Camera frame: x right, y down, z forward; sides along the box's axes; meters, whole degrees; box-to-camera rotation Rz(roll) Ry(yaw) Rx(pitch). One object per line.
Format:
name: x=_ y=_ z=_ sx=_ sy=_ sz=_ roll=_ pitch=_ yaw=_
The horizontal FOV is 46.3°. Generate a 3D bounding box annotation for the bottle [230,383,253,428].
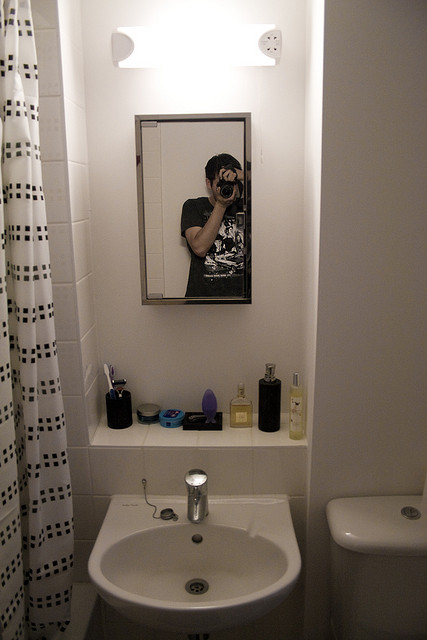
bottle: x=0.078 y=0.236 z=1.440 sx=0.070 sy=0.147 sz=0.052 roll=-5 pitch=31 yaw=-4

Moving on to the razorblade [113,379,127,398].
razorblade: x=-0.269 y=0.190 z=1.454 sx=0.033 sy=0.055 sz=0.094 roll=-2 pitch=9 yaw=0

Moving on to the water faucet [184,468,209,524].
water faucet: x=-0.034 y=0.428 z=1.245 sx=0.057 sy=0.134 sz=0.120 roll=0 pitch=25 yaw=2

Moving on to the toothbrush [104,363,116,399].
toothbrush: x=-0.302 y=0.174 z=1.450 sx=0.009 sy=0.106 sz=0.009 roll=-12 pitch=-3 yaw=29

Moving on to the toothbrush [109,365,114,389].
toothbrush: x=-0.296 y=0.163 z=1.450 sx=0.016 sy=0.069 sz=0.021 roll=-1 pitch=-7 yaw=-23

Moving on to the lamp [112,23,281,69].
lamp: x=-0.044 y=-0.658 z=1.216 sx=0.403 sy=0.149 sz=0.049 roll=-2 pitch=-10 yaw=0

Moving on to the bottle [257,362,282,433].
bottle: x=0.153 y=0.221 z=1.410 sx=0.068 sy=0.200 sz=0.077 roll=0 pitch=8 yaw=10

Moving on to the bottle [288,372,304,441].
bottle: x=0.226 y=0.230 z=1.383 sx=0.044 sy=0.193 sz=0.102 roll=0 pitch=9 yaw=10

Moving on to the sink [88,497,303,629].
sink: x=-0.046 y=0.595 z=1.198 sx=0.486 sy=0.161 sz=0.408 roll=-2 pitch=10 yaw=2
